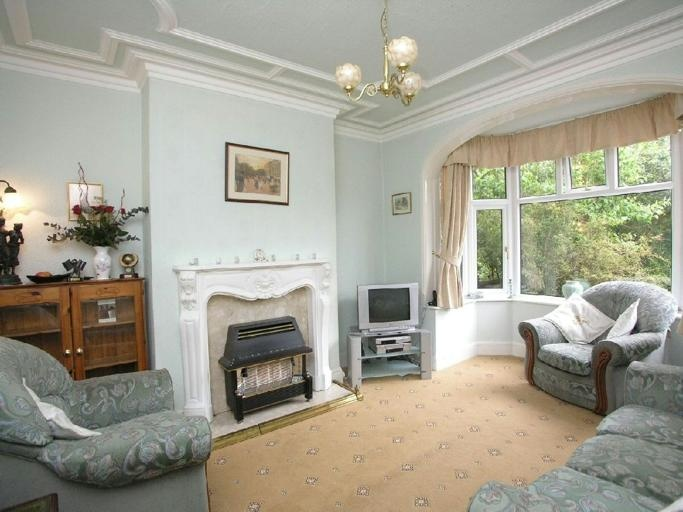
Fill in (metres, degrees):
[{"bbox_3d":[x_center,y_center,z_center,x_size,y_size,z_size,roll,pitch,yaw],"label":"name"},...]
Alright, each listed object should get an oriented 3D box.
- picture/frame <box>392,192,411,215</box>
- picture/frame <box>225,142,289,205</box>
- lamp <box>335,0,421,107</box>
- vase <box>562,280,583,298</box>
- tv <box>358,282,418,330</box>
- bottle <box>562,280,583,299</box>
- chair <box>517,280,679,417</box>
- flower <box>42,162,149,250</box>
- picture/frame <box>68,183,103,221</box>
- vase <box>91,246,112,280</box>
[{"bbox_3d":[0.783,-0.705,5.967,0.025,0.279,0.304,0,0,-37],"label":"picture/frame"},{"bbox_3d":[-0.906,-0.873,4.740,0.674,0.580,0.028,1,-2,-35],"label":"picture/frame"},{"bbox_3d":[0.340,-1.630,3.665,0.558,0.820,1.364,1,12,9],"label":"lamp"},{"bbox_3d":[2.788,0.404,5.644,0.200,0.238,0.209,2,-5,-7],"label":"vase"},{"bbox_3d":[0.516,0.572,5.496,0.858,0.689,0.475,0,-3,-15],"label":"tv"},{"bbox_3d":[2.797,0.400,5.635,0.203,0.243,0.212,2,-5,-4],"label":"bottle"},{"bbox_3d":[2.601,0.885,4.804,1.315,1.241,1.253,2,-2,-24],"label":"chair"},{"bbox_3d":[-2.416,-0.326,4.548,0.696,0.985,1.069,-2,1,-27],"label":"flower"},{"bbox_3d":[-2.390,-0.520,4.264,0.354,0.439,0.030,3,-13,-37],"label":"picture/frame"},{"bbox_3d":[-2.198,0.046,4.224,0.154,0.302,0.416,-8,13,-27],"label":"vase"}]
